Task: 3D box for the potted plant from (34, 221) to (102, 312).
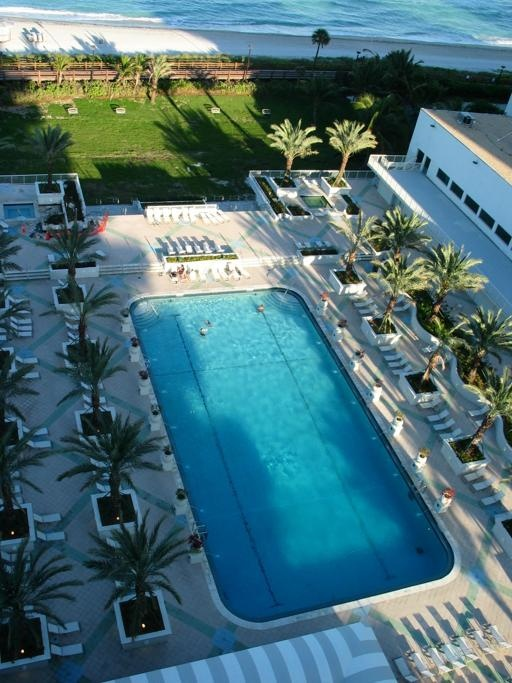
[{"bbox_3d":[-10.000,-4.497,26.973,2.597,2.507,3.738,-7,73,-3],"label":"potted plant"}]
